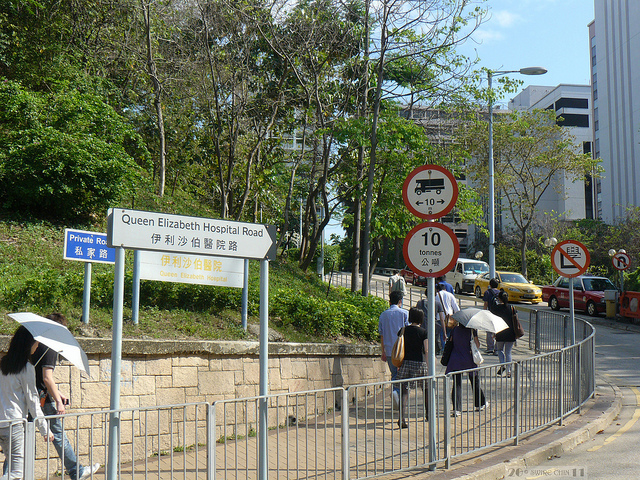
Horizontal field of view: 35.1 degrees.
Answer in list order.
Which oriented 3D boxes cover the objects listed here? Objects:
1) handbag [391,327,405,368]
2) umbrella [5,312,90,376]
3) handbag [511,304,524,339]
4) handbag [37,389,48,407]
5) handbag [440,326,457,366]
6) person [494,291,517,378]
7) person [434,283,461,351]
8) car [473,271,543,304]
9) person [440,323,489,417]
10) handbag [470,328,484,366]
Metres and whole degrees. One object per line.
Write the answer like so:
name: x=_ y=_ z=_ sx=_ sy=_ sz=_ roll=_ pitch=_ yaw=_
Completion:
handbag: x=1.863 y=2.515 z=23.841 sx=0.227 sy=0.928 sz=0.439 roll=-1 pitch=-3 yaw=35
umbrella: x=-5.767 y=2.175 z=21.175 sx=1.324 sy=1.136 sz=1.335 roll=33 pitch=9 yaw=-25
handbag: x=5.281 y=2.174 z=27.106 sx=0.295 sy=0.825 sz=0.734 roll=0 pitch=-3 yaw=11
handbag: x=-5.880 y=3.329 z=21.404 sx=0.205 sy=0.376 sz=0.103 roll=3 pitch=-3 yaw=-38
handbag: x=3.120 y=2.545 z=24.440 sx=0.383 sy=0.961 sz=0.371 roll=0 pitch=-3 yaw=9
person: x=4.963 y=2.493 z=27.273 sx=0.631 sy=2.320 sz=0.570 roll=-3 pitch=-6 yaw=39
person: x=3.446 y=2.014 z=27.760 sx=0.545 sy=1.874 sz=0.662 roll=9 pitch=3 yaw=8
car: x=8.134 y=2.026 z=44.364 sx=1.620 sy=1.467 sz=4.079 roll=4 pitch=-2 yaw=-19
person: x=3.539 y=2.884 z=24.389 sx=1.153 sy=2.496 sz=0.827 roll=0 pitch=0 yaw=-3
handbag: x=3.763 y=2.528 z=24.123 sx=0.329 sy=0.886 sz=0.297 roll=2 pitch=-3 yaw=-22
